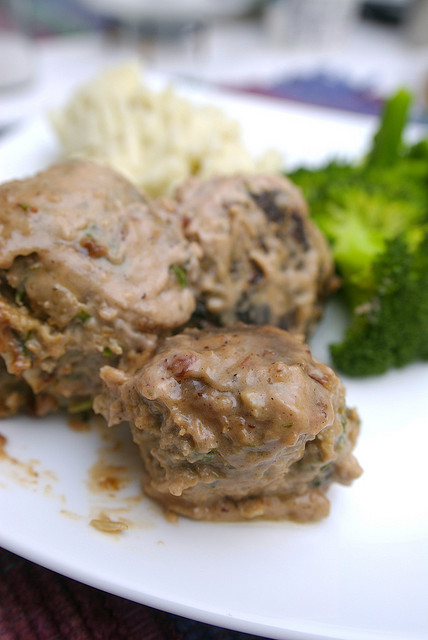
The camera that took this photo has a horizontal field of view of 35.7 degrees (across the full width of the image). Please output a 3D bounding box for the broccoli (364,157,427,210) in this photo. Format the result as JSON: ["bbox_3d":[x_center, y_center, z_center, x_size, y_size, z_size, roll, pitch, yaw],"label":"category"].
[{"bbox_3d":[0.297,-0.227,1.070,0.085,0.024,0.091,-2,80,22],"label":"broccoli"}]
